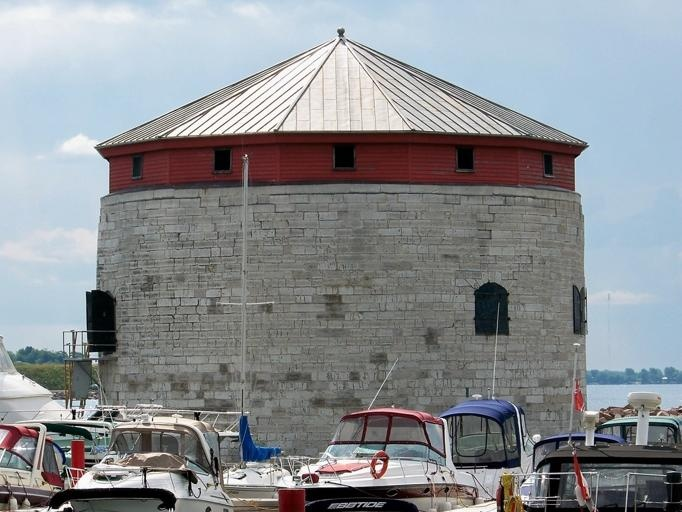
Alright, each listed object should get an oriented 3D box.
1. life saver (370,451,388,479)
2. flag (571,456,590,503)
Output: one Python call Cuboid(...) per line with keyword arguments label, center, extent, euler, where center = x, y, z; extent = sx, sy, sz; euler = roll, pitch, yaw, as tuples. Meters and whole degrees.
Cuboid(label="life saver", center=(1.080, 5.717, 53.641), extent=(0.499, 0.771, 0.567), euler=(0, -9, 1))
Cuboid(label="flag", center=(6.030, 5.568, 48.696), extent=(0.381, 1.225, 0.653), euler=(-1, -10, 7))
